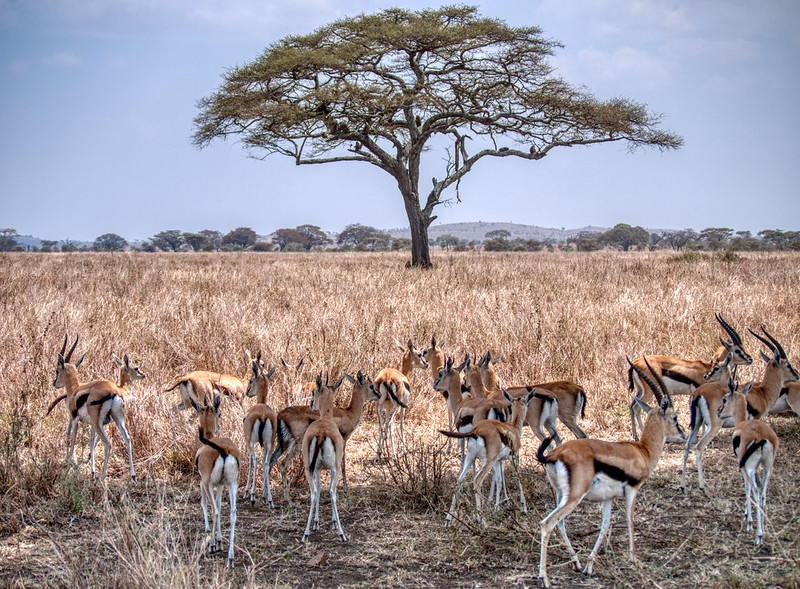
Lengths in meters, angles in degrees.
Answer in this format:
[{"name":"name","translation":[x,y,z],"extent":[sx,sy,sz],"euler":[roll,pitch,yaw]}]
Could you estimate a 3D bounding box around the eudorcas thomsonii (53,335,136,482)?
[{"name":"eudorcas thomsonii","translation":[-3.795,1.401,11.431],"extent":[0.921,1.828,1.439],"euler":[-3,0,-31]}]
